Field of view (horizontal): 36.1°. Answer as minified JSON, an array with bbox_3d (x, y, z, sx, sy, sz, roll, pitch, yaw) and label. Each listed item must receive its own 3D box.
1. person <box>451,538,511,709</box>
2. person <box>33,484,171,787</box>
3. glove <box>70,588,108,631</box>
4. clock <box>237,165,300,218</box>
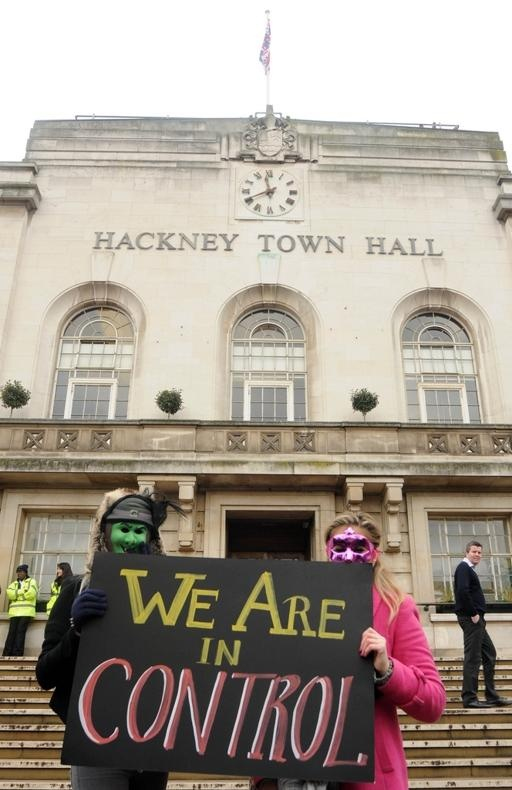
[{"bbox_3d":[2.666,2.740,9.507,0.522,1.995,1.169,-6,-30,14],"label":"person"},{"bbox_3d":[-0.714,1.016,3.640,0.569,1.452,0.715,1,-29,2],"label":"person"},{"bbox_3d":[-0.731,0.916,3.351,0.169,0.155,0.097,-17,-34,30],"label":"glove"},{"bbox_3d":[0.337,-5.579,21.879,1.867,1.771,0.181,1,-32,-3],"label":"clock"}]
